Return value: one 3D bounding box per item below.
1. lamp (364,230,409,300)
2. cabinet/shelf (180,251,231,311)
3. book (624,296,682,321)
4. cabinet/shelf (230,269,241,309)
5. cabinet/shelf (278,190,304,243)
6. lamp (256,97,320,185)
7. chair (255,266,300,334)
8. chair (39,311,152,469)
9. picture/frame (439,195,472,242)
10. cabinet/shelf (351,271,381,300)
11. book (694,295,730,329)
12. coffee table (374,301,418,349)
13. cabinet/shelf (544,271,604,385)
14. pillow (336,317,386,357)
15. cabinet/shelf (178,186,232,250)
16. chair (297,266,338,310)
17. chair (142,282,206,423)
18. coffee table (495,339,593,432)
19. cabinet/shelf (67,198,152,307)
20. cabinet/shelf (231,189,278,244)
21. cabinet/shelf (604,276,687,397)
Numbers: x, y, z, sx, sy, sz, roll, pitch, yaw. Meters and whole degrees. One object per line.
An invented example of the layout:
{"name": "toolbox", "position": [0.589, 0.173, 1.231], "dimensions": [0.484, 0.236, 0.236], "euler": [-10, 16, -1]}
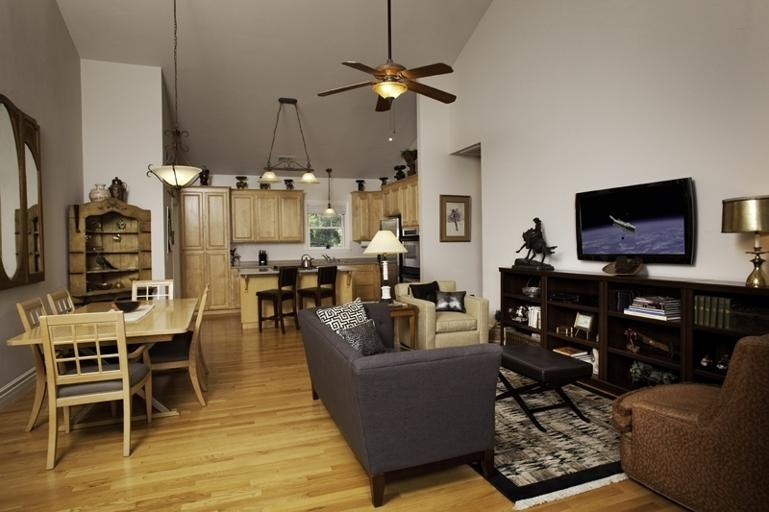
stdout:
{"name": "lamp", "position": [0.007, 0.145, 6.449], "dimensions": [0.589, 0.892, 0.593], "euler": [-6, 6, -40]}
{"name": "cabinet/shelf", "position": [-3.503, 0.381, 10.105], "dimensions": [0.874, 1.287, 0.417], "euler": [-2, 20, -21]}
{"name": "book", "position": [2.772, 0.528, 5.360], "dimensions": [0.527, 0.212, 0.224], "euler": [0, 5, 32]}
{"name": "cabinet/shelf", "position": [-2.914, 0.631, 10.095], "dimensions": [0.161, 0.813, 0.092], "euler": [-2, 5, 1]}
{"name": "cabinet/shelf", "position": [-1.955, -0.839, 10.729], "dimensions": [0.617, 1.059, 0.343], "euler": [-1, 5, -3]}
{"name": "lamp", "position": [-1.745, -2.155, 9.361], "dimensions": [1.574, 1.809, 0.651], "euler": [0, -2, -22]}
{"name": "chair", "position": [-1.724, 0.660, 8.364], "dimensions": [0.644, 0.920, 0.636], "euler": [0, 2, 42]}
{"name": "chair", "position": [-2.781, 1.113, 4.954], "dimensions": [0.888, 1.451, 0.902], "euler": [-1, 12, -21]}
{"name": "picture/frame", "position": [1.168, -0.649, 8.683], "dimensions": [0.791, 1.063, 0.112], "euler": [1, -2, -25]}
{"name": "cabinet/shelf", "position": [-0.401, 0.583, 10.593], "dimensions": [0.602, 0.801, 0.381], "euler": [1, -3, -26]}
{"name": "book", "position": [3.118, 0.523, 4.915], "dimensions": [0.258, 0.345, 0.360], "euler": [0, -2, 30]}
{"name": "coffee table", "position": [0.200, 1.001, 6.764], "dimensions": [0.417, 0.435, 0.477], "euler": [-20, -3, 5]}
{"name": "cabinet/shelf", "position": [2.292, 0.731, 5.980], "dimensions": [0.325, 1.074, 1.085], "euler": [-3, 3, -17]}
{"name": "pillow", "position": [-0.203, 0.780, 4.955], "dimensions": [0.338, 0.316, 0.104], "euler": [-12, -26, -49]}
{"name": "cabinet/shelf", "position": [-3.522, -0.689, 10.067], "dimensions": [0.930, 1.458, 0.424], "euler": [-4, 25, -27]}
{"name": "chair", "position": [-1.095, 0.550, 8.580], "dimensions": [0.478, 0.774, 0.490], "euler": [3, 5, 30]}
{"name": "chair", "position": [-2.297, 1.084, 5.629], "dimensions": [0.715, 1.018, 0.640], "euler": [-3, -6, -19]}
{"name": "coffee table", "position": [1.586, 1.132, 5.190], "dimensions": [0.763, 0.643, 1.403], "euler": [1, 0, -15]}
{"name": "cabinet/shelf", "position": [-3.887, -0.102, 7.358], "dimensions": [1.121, 1.429, 0.472], "euler": [-5, 6, -31]}
{"name": "cabinet/shelf", "position": [-2.627, -0.839, 10.342], "dimensions": [1.094, 1.282, 0.499], "euler": [0, 0, -25]}
{"name": "cabinet/shelf", "position": [2.733, 0.810, 5.382], "dimensions": [0.373, 1.160, 1.247], "euler": [2, -4, -9]}
